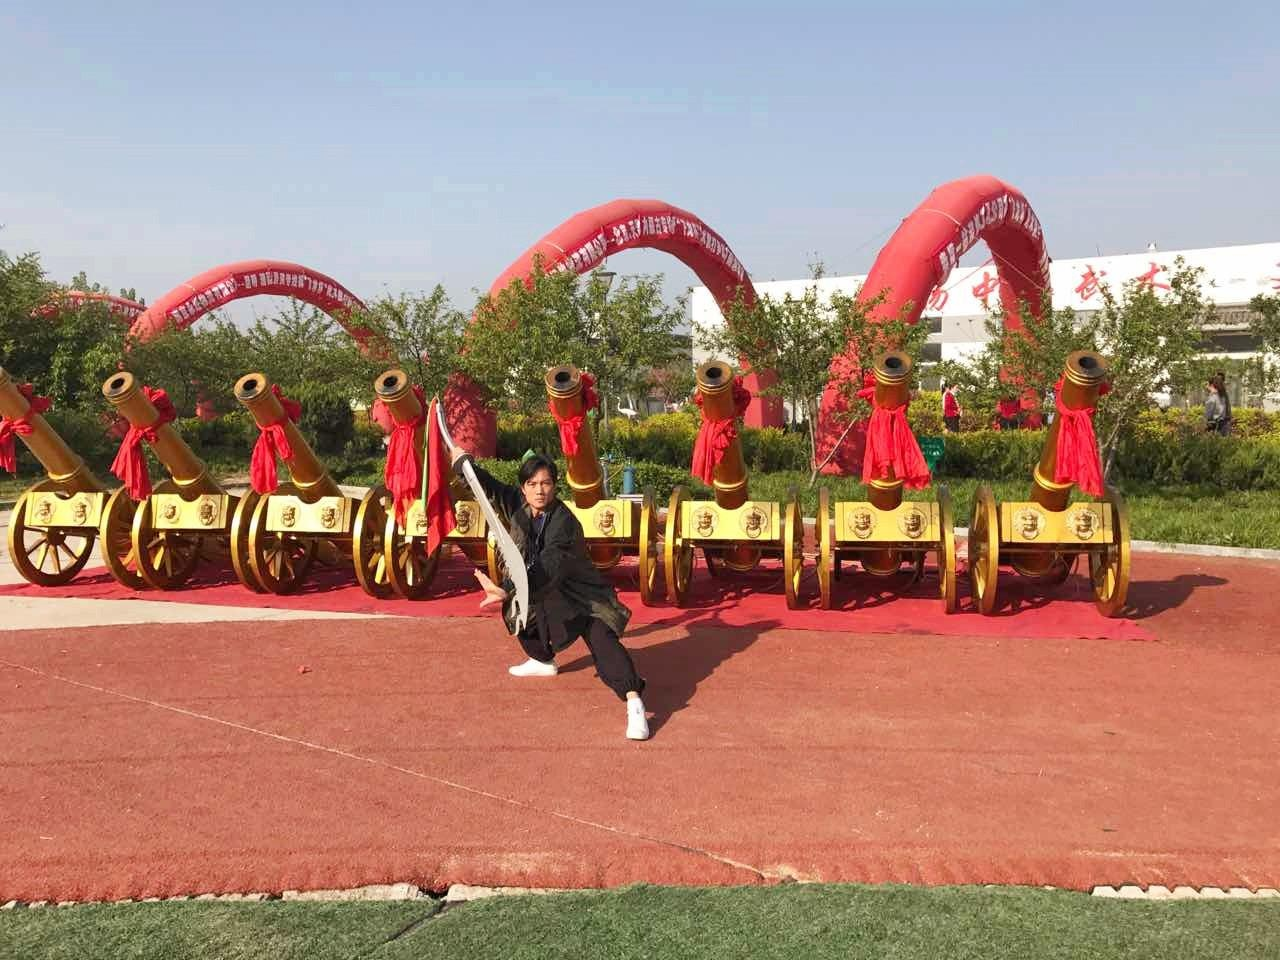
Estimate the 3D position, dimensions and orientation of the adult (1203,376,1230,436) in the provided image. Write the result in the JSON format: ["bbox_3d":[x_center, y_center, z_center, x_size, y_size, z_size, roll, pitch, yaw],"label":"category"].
[{"bbox_3d":[8.499,-1.081,16.821,0.303,0.925,1.855,0,0,26],"label":"adult"}]

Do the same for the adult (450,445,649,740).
[{"bbox_3d":[-0.608,0.632,7.645,1.406,2.042,1.008,7,13,41],"label":"adult"}]

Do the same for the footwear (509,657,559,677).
[{"bbox_3d":[-0.748,1.331,8.046,0.309,0.149,0.148,2,-4,7],"label":"footwear"}]

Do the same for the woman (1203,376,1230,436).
[{"bbox_3d":[8.504,-1.080,16.832,0.303,0.925,1.832,0,0,26],"label":"woman"}]
